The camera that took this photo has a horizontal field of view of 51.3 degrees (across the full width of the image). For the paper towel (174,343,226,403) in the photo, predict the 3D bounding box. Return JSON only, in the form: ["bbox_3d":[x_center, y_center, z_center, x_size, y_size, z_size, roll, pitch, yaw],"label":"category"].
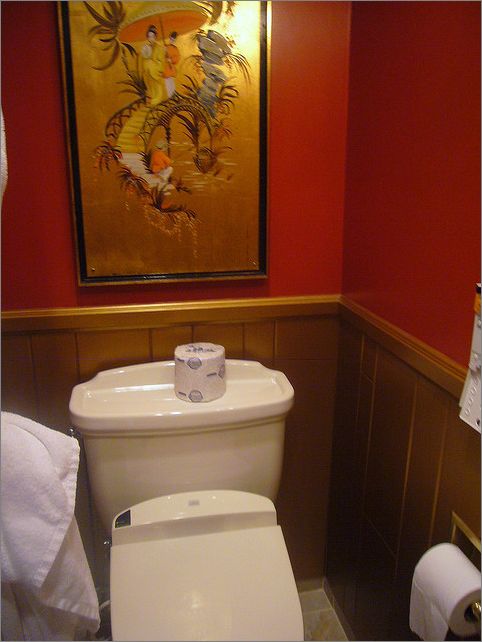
[{"bbox_3d":[-0.086,0.109,1.116,0.099,0.102,0.102,14,19,41],"label":"paper towel"}]
